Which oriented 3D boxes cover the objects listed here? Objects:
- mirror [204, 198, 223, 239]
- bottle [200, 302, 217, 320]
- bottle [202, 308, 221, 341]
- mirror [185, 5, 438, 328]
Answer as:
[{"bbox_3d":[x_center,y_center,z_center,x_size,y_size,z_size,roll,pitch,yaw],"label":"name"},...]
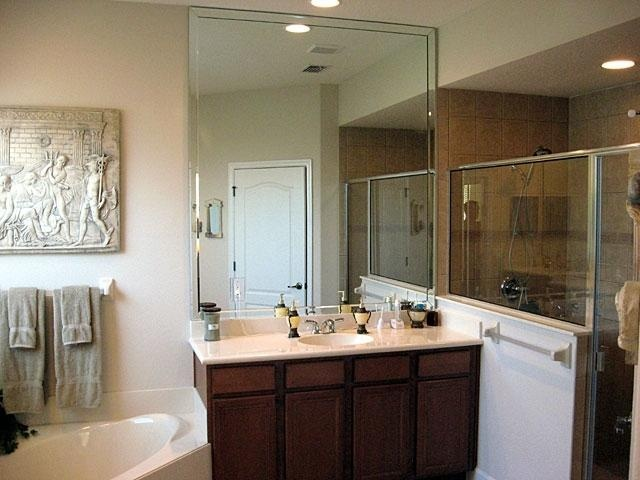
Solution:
[{"bbox_3d":[-0.756,-0.153,3.692,0.133,0.280,0.041,-2,2,-10],"label":"mirror"},{"bbox_3d":[-0.790,0.497,3.688,0.103,0.098,0.104,1,2,-27],"label":"bottle"},{"bbox_3d":[-0.762,0.587,3.662,0.127,0.232,0.171,-3,2,-13],"label":"bottle"},{"bbox_3d":[-0.133,-0.593,3.791,2.051,2.911,0.100,2,-2,-18],"label":"mirror"}]
